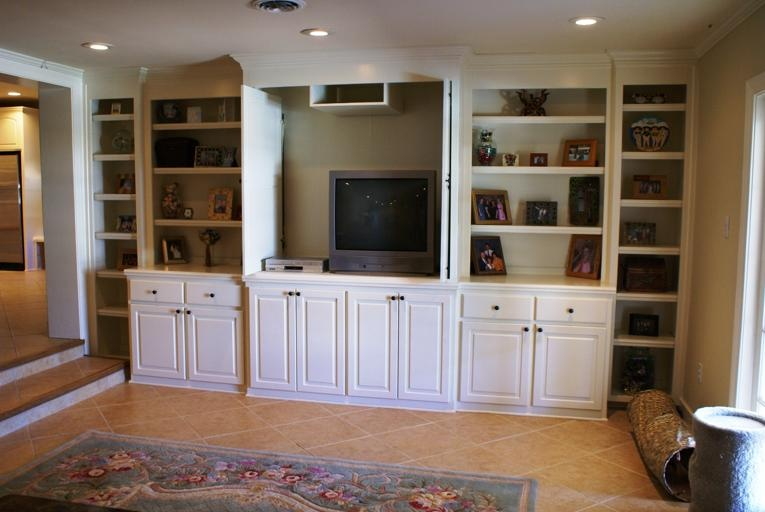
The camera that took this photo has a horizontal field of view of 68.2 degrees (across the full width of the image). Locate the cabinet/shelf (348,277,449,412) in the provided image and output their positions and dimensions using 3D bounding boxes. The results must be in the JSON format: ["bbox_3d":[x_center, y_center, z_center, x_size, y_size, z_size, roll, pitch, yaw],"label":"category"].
[{"bbox_3d":[0.165,0.767,5.094,1.275,1.214,0.492,1,8,12],"label":"cabinet/shelf"}]

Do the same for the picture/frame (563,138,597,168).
[{"bbox_3d":[1.818,-0.943,5.197,0.311,0.284,0.023,3,-8,22],"label":"picture/frame"}]

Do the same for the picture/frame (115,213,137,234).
[{"bbox_3d":[-2.742,-0.340,6.014,0.231,0.197,0.053,5,-1,12],"label":"picture/frame"}]

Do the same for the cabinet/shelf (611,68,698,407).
[{"bbox_3d":[2.408,-0.177,5.174,0.732,3.033,0.486,3,4,17],"label":"cabinet/shelf"}]

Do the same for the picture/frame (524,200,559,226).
[{"bbox_3d":[1.492,-0.406,5.324,0.402,0.265,0.212,1,-8,8],"label":"picture/frame"}]

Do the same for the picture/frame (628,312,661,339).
[{"bbox_3d":[2.389,0.630,5.233,0.377,0.283,0.185,2,-4,17],"label":"picture/frame"}]

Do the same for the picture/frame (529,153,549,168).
[{"bbox_3d":[1.462,-0.901,5.285,0.169,0.134,0.144,0,-16,8],"label":"picture/frame"}]

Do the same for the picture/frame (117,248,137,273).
[{"bbox_3d":[-2.740,0.051,6.038,0.285,0.258,0.030,0,-6,6],"label":"picture/frame"}]

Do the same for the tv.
[{"bbox_3d":[0.017,-0.327,5.254,1.001,0.874,0.526,2,6,10],"label":"tv"}]

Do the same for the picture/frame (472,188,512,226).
[{"bbox_3d":[1.010,-0.453,5.323,0.379,0.361,0.051,-2,-10,-10],"label":"picture/frame"}]

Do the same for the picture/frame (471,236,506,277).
[{"bbox_3d":[0.990,0.013,5.391,0.411,0.409,0.073,-1,-15,-11],"label":"picture/frame"}]

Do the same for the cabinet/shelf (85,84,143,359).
[{"bbox_3d":[-2.799,-0.283,6.028,0.541,2.793,0.400,2,4,16],"label":"cabinet/shelf"}]

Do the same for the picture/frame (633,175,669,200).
[{"bbox_3d":[2.423,-0.623,5.137,0.386,0.260,0.198,1,0,10],"label":"picture/frame"}]

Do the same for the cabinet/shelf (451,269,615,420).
[{"bbox_3d":[1.327,0.827,5.014,1.437,1.080,0.540,1,2,9],"label":"cabinet/shelf"}]

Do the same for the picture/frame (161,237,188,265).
[{"bbox_3d":[-2.219,-0.052,5.965,0.311,0.332,0.036,1,-6,-41],"label":"picture/frame"}]
